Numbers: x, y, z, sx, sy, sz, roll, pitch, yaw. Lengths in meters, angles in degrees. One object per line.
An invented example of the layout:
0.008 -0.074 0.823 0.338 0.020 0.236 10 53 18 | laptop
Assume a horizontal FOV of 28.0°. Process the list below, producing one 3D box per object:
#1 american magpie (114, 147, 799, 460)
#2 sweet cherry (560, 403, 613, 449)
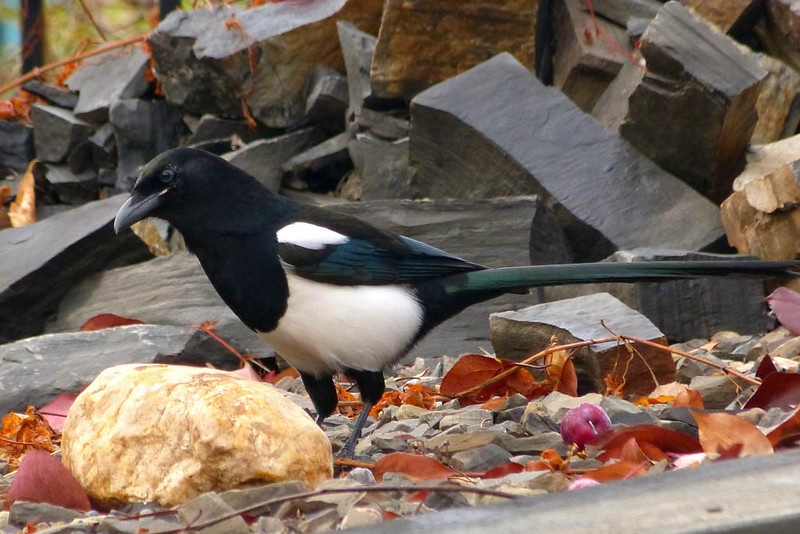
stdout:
-0.127 0.039 9.126 2.757 1.674 0.707 -5 28 16 | american magpie
1.046 0.887 8.823 0.303 0.260 0.229 -6 60 35 | sweet cherry
